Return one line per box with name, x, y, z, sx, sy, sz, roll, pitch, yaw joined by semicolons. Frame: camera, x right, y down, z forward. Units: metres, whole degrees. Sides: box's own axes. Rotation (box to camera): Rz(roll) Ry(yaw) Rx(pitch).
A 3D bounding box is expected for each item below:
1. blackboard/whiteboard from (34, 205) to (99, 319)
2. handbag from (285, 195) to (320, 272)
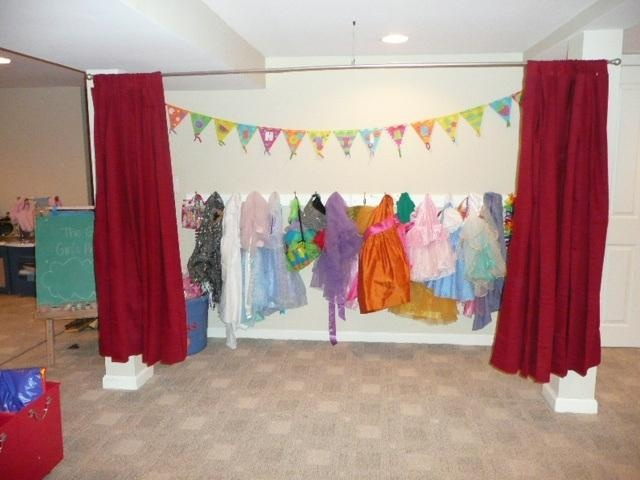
blackboard/whiteboard;-2.128;0.215;4.096;0.444;0.851;0.162;-3;7;-5
handbag;-0.179;-0.042;4.217;0.233;0.599;0.271;-8;8;-38
